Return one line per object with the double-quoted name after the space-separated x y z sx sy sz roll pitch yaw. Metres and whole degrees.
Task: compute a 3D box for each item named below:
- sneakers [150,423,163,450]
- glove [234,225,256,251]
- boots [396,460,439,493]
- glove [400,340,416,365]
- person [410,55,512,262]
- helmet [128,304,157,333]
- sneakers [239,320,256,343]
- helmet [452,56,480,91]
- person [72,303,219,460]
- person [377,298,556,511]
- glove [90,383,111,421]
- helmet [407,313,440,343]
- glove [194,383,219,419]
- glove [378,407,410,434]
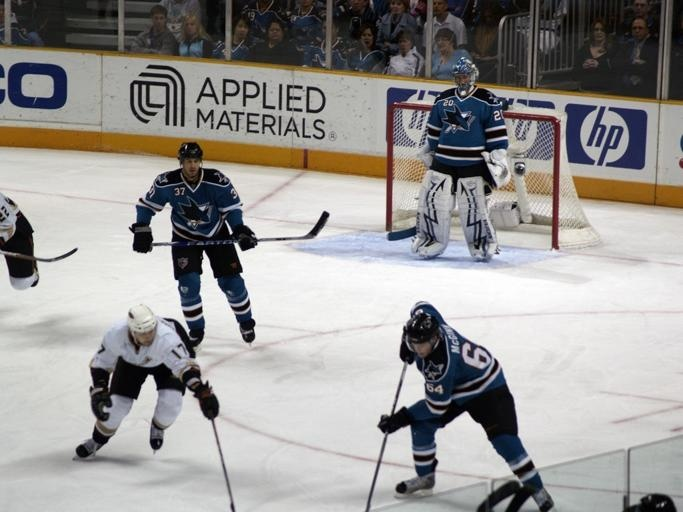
-0.907 0.867 4.302 0.052 0.143 0.063 -3 -5 -33 "sneakers"
-0.604 -0.119 5.531 0.133 0.161 0.198 -5 14 -26 "glove"
0.344 1.010 4.084 0.245 0.163 0.083 -2 11 -17 "boots"
0.299 0.451 4.157 0.039 0.103 0.076 -19 4 -28 "glove"
1.015 -0.798 7.402 0.781 1.673 0.311 3 13 9 "person"
-0.921 0.305 4.145 0.110 0.132 0.138 -12 34 -16 "helmet"
-0.592 0.460 5.538 0.089 0.146 0.058 -3 12 10 "sneakers"
1.020 -1.489 7.280 0.172 0.287 0.212 3 13 10 "helmet"
-0.936 0.592 4.215 0.678 0.745 0.415 0 13 -7 "person"
0.575 0.690 3.867 0.889 0.859 0.442 13 17 42 "person"
-1.137 0.680 4.133 0.052 0.149 0.116 0 1 -40 "glove"
0.341 0.312 3.841 0.148 0.118 0.146 12 16 40 "helmet"
-0.646 0.692 4.152 0.100 0.202 0.184 -2 13 -16 "glove"
0.242 0.732 3.961 0.126 0.120 0.047 -19 -33 14 "glove"
